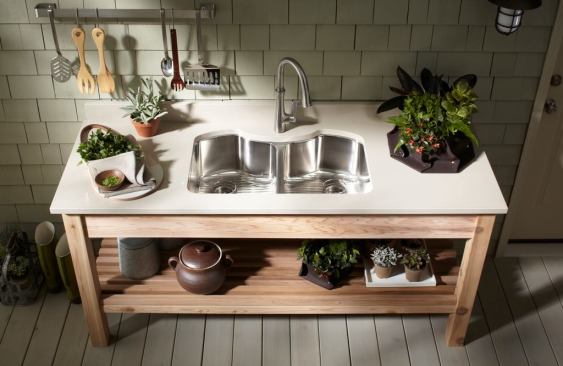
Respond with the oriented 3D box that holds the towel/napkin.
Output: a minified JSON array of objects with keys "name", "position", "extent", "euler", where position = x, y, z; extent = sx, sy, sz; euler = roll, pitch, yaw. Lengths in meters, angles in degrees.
[{"name":"towel/napkin","position":[-0.897,-0.026,2.080],"extent":[0.292,0.086,0.283],"euler":[-16,57,-11]}]

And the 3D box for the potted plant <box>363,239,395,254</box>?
[{"name":"potted plant","position":[0.649,0.403,2.498],"extent":[0.120,0.072,0.115],"euler":[2,36,7]}]

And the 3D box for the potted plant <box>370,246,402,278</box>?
[{"name":"potted plant","position":[0.654,0.528,2.414],"extent":[0.176,0.176,0.160],"euler":[-14,23,-28]}]

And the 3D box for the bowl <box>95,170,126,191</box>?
[{"name":"bowl","position":[-0.945,-0.011,2.041],"extent":[0.154,0.080,0.114],"euler":[-3,29,-1]}]

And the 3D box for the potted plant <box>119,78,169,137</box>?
[{"name":"potted plant","position":[-0.868,-0.441,2.395],"extent":[0.346,0.328,0.236],"euler":[20,15,21]}]

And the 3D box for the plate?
[{"name":"plate","position":[-0.775,-0.005,2.058],"extent":[0.236,0.070,0.234],"euler":[-28,47,-18]}]

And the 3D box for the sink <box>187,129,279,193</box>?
[{"name":"sink","position":[-0.330,-0.123,2.375],"extent":[0.544,0.394,0.291],"euler":[-1,-13,0]}]

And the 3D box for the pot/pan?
[{"name":"pot/pan","position":[-0.521,0.525,2.400],"extent":[0.416,0.286,0.325],"euler":[3,31,-3]}]

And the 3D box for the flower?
[{"name":"flower","position":[0.858,-0.376,2.128],"extent":[0.492,0.392,0.312],"euler":[5,31,13]}]

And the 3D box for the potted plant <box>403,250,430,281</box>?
[{"name":"potted plant","position":[0.858,0.557,2.399],"extent":[0.115,0.156,0.133],"euler":[-13,-8,-14]}]

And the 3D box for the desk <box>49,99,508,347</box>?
[{"name":"desk","position":[0.059,0.459,2.610],"extent":[2.467,1.169,0.992],"euler":[2,25,4]}]

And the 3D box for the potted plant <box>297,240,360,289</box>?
[{"name":"potted plant","position":[0.361,0.531,2.472],"extent":[0.496,0.163,0.512],"euler":[-8,2,35]}]
